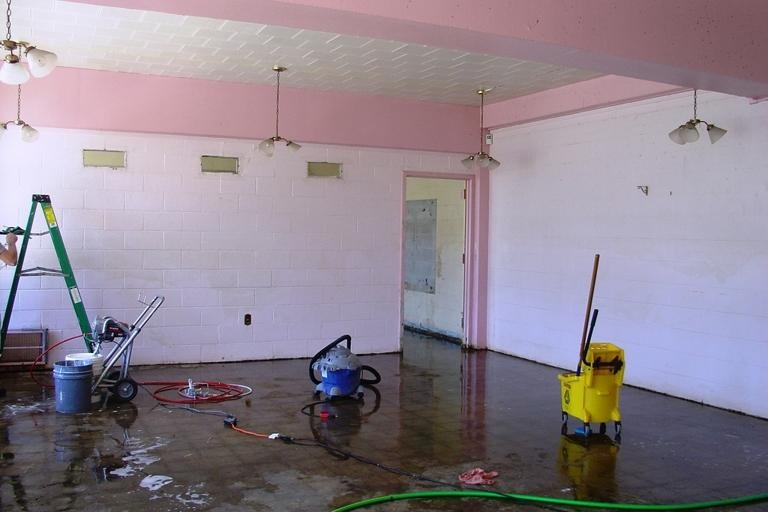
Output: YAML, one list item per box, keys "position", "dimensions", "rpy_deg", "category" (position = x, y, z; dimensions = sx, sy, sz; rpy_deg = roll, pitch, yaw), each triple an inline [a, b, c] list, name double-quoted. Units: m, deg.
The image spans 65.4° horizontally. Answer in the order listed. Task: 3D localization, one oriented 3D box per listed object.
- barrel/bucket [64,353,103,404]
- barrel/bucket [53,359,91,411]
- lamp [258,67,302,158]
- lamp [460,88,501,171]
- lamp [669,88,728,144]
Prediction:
- position: [-3.312, 1.285, 6.654]
  dimensions: [0.411, 0.344, 0.392]
  rpy_deg: [4, 1, 0]
  category: "barrel/bucket"
- position: [-3.260, 1.386, 6.462]
  dimensions: [0.538, 0.486, 0.511]
  rpy_deg: [0, 0, 0]
  category: "barrel/bucket"
- position: [-1.414, -1.932, 8.050]
  dimensions: [0.519, 1.093, 0.884]
  rpy_deg: [1, 10, -4]
  category: "lamp"
- position: [1.445, -1.874, 8.925]
  dimensions: [0.501, 1.131, 1.112]
  rpy_deg: [3, 10, 7]
  category: "lamp"
- position: [3.550, -1.584, 6.697]
  dimensions: [0.556, 0.626, 0.603]
  rpy_deg: [6, 11, 27]
  category: "lamp"
